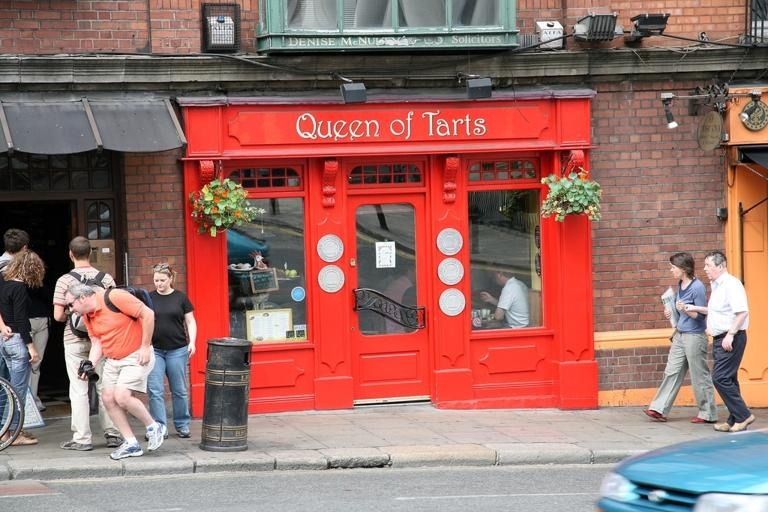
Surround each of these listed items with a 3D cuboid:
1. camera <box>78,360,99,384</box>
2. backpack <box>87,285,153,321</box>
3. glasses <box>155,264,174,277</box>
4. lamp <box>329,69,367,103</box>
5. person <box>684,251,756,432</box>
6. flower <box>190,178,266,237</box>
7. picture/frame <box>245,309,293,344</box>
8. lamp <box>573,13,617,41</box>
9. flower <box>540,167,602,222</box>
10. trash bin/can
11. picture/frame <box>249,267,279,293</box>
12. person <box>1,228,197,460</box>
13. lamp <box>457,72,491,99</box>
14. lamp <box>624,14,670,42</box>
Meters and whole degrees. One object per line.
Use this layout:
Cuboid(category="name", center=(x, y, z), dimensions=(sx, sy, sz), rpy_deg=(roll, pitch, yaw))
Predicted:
Cuboid(category="camera", center=(-3.996, 1.585, 21.409), dimensions=(0.319, 0.282, 0.122), rpy_deg=(-10, -38, -13))
Cuboid(category="backpack", center=(-3.519, 0.642, 21.551), dimensions=(0.529, 0.443, 0.342), rpy_deg=(8, 6, -42))
Cuboid(category="glasses", center=(-3.053, 0.212, 22.263), dimensions=(0.216, 0.189, 0.234), rpy_deg=(2, 7, 12))
Cuboid(category="lamp", center=(-0.492, -2.534, 23.908), dimensions=(0.521, 0.459, 0.541), rpy_deg=(-2, 15, -12))
Cuboid(category="person", center=(5.033, 1.320, 23.240), dimensions=(0.517, 2.662, 1.164), rpy_deg=(-9, 19, -32))
Cuboid(category="flower", center=(-2.399, -0.689, 23.545), dimensions=(0.934, 0.878, 0.411), rpy_deg=(0, 16, -5))
Cuboid(category="picture/frame", center=(-1.755, 1.094, 24.165), dimensions=(0.888, 0.509, 0.051), rpy_deg=(-1, -5, -43))
Cuboid(category="lamp", center=(3.283, -3.550, 24.464), dimensions=(0.515, 0.215, 0.569), rpy_deg=(-1, 5, -3))
Cuboid(category="flower", center=(2.880, -0.923, 24.417), dimensions=(1.134, 0.750, 0.698), rpy_deg=(7, -2, 10))
Cuboid(category="trash bin/can", center=(-2.337, 1.965, 22.027), dimensions=(0.941, 1.395, 0.764), rpy_deg=(1, -7, 2))
Cuboid(category="picture/frame", center=(-1.842, 0.371, 24.146), dimensions=(0.489, 0.317, 0.150), rpy_deg=(-6, 8, -13))
Cuboid(category="person", center=(-3.841, 1.266, 21.809), dimensions=(1.307, 2.889, 1.259), rpy_deg=(0, 16, -8))
Cuboid(category="lamp", center=(1.396, -2.595, 24.188), dimensions=(0.506, 0.351, 0.586), rpy_deg=(0, 14, -6))
Cuboid(category="lamp", center=(4.057, -3.585, 24.759), dimensions=(0.436, 0.170, 0.545), rpy_deg=(0, -4, -5))
